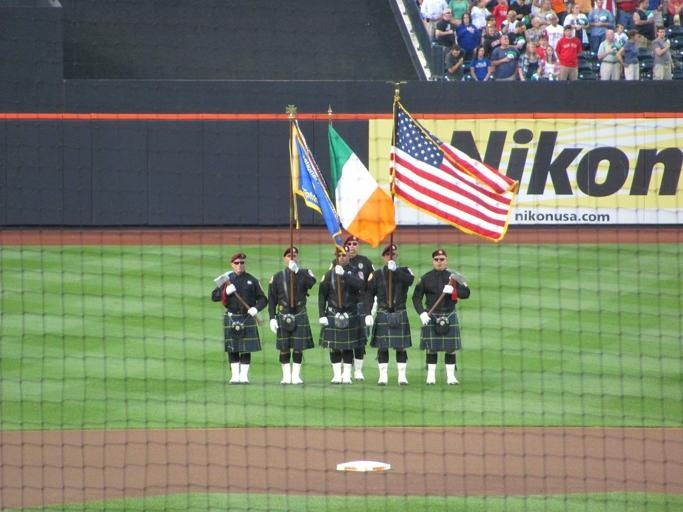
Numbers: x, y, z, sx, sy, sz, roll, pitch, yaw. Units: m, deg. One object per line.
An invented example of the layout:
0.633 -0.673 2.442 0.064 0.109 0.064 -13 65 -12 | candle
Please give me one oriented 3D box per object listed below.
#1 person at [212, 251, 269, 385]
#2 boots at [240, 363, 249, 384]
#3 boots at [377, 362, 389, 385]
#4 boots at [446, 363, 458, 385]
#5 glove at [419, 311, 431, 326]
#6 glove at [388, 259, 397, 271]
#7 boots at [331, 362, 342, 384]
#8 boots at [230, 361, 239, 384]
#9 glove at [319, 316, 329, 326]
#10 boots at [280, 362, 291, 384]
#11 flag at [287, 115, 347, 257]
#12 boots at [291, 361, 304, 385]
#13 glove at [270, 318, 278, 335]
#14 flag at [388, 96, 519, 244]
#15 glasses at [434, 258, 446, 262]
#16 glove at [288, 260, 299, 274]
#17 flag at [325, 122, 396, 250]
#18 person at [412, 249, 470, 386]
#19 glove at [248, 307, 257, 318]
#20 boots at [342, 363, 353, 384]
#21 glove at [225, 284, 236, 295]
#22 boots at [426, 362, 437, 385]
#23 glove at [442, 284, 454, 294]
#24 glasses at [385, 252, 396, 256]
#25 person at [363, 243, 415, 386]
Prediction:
-2.327 1.452 46.299 1.037 2.781 1.181 0 0 -6 | person
-2.206 2.669 45.970 0.180 0.439 0.382 -1 -2 19 | boots
0.883 2.664 45.910 0.215 0.526 0.454 -1 -2 0 | boots
2.437 2.663 45.722 0.284 0.453 0.204 0 -2 -3 | boots
1.835 1.399 45.782 0.238 0.333 0.165 -1 -2 2 | glove
1.085 0.199 45.679 0.264 0.227 0.214 0 -2 -21 | glove
-0.156 2.646 45.981 0.235 0.482 0.481 0 -2 -2 | boots
-2.434 2.643 45.893 0.213 0.482 0.173 -1 -2 0 | boots
-0.446 1.491 45.953 0.178 0.132 0.181 3 3 17 | glove
-1.284 2.660 45.970 0.218 0.482 0.422 0 -2 -3 | boots
-0.620 -1.657 44.111 0.924 3.244 1.006 0 7 1 | flag
-1.041 2.666 46.109 0.253 0.480 0.724 0 -2 -1 | boots
-1.568 1.586 46.136 0.162 0.349 0.425 0 -2 -3 | glove
2.235 -1.800 43.278 2.401 2.791 0.251 -1 -2 1 | flag
2.153 0.063 45.819 0.246 0.109 0.149 0 -2 -5 | glasses
-1.128 0.237 45.780 0.198 0.269 0.086 -8 -21 -42 | glove
0.399 -1.577 44.182 1.353 2.769 1.094 0 -2 -1 | flag
2.230 1.371 46.182 1.055 3.081 1.202 0 1 3 | person
-2.017 1.268 45.967 0.228 0.244 0.138 1 -3 -28 | glove
0.075 2.651 45.887 0.214 0.468 0.446 0 -2 -1 | boots
-2.521 0.743 45.912 0.220 0.227 0.084 0 -2 -13 | glove
1.963 2.645 45.816 0.200 0.498 0.317 -1 -2 0 | boots
2.347 0.732 45.665 0.227 0.213 0.122 0 -2 -6 | glove
1.087 -0.058 45.596 0.210 0.075 0.053 0 -2 -9 | glasses
1.044 1.389 46.076 0.977 2.944 1.284 0 1 1 | person
